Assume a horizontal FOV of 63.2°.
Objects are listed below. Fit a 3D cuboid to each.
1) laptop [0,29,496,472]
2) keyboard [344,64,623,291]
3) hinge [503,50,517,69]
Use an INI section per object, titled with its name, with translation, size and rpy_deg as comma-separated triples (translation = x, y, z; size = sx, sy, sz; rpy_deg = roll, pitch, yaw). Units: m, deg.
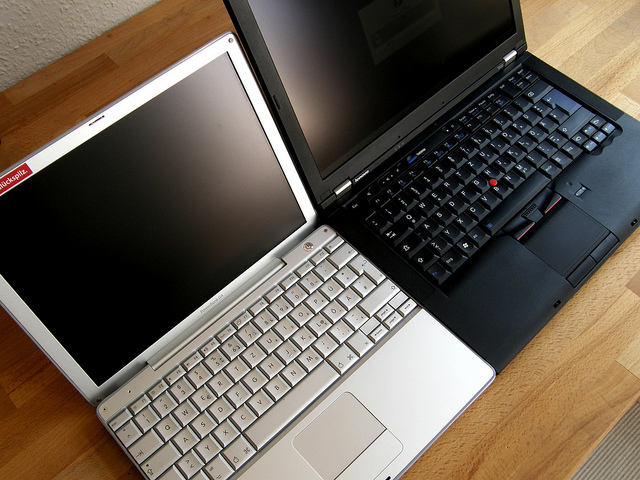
[laptop]
translation = -0.184, 0.076, 0.902
size = 0.552, 0.447, 0.728
rpy_deg = -36, 73, -15
[keyboard]
translation = 0.257, -0.115, 0.927
size = 0.597, 0.080, 0.288
rpy_deg = -41, 67, -19
[hinge]
translation = 0.360, -0.341, 0.987
size = 0.039, 0.029, 0.009
rpy_deg = -37, 37, -28
